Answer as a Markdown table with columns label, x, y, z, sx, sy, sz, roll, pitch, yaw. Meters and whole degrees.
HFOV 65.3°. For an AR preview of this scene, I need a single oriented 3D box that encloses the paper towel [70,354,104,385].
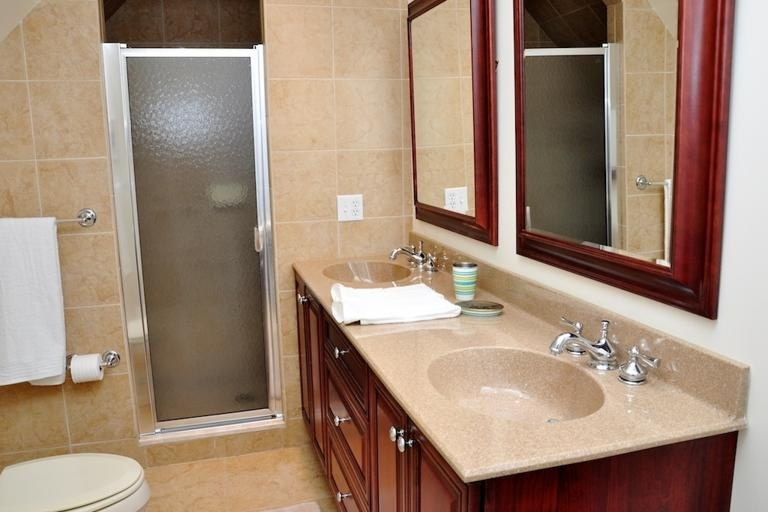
| label | x | y | z | sx | sy | sz | roll | pitch | yaw |
| --- | --- | --- | --- | --- | --- | --- | --- | --- | --- |
| paper towel | -1.489 | 0.564 | 2.991 | 0.162 | 0.145 | 0.134 | -2 | 0 | 2 |

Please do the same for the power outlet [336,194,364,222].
| label | x | y | z | sx | sy | sz | roll | pitch | yaw |
| --- | --- | --- | --- | --- | --- | --- | --- | --- | --- |
| power outlet | -0.190 | -0.263 | 3.216 | 0.144 | 0.143 | 0.017 | -2 | 11 | -6 |

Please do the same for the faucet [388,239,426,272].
| label | x | y | z | sx | sy | sz | roll | pitch | yaw |
| --- | --- | --- | --- | --- | --- | --- | --- | --- | --- |
| faucet | 0.145 | 0.014 | 3.089 | 0.223 | 0.150 | 0.103 | -6 | 10 | -44 |

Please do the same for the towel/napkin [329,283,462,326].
| label | x | y | z | sx | sy | sz | roll | pitch | yaw |
| --- | --- | --- | --- | --- | --- | --- | --- | --- | --- |
| towel/napkin | 0.036 | 0.183 | 2.401 | 0.492 | 0.102 | 0.381 | -6 | 10 | -4 |

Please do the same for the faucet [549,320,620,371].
| label | x | y | z | sx | sy | sz | roll | pitch | yaw |
| --- | --- | --- | --- | --- | --- | --- | --- | --- | --- |
| faucet | 0.644 | 0.287 | 1.932 | 0.267 | 0.166 | 0.114 | -11 | 7 | -17 |

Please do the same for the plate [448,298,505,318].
| label | x | y | z | sx | sy | sz | roll | pitch | yaw |
| --- | --- | --- | --- | --- | --- | --- | --- | --- | --- |
| plate | 0.365 | 0.201 | 2.342 | 0.176 | 0.042 | 0.190 | -6 | 10 | -7 |

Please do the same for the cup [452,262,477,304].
| label | x | y | z | sx | sy | sz | roll | pitch | yaw |
| --- | --- | --- | --- | --- | --- | --- | --- | --- | --- |
| cup | 0.326 | 0.102 | 2.407 | 0.132 | 0.162 | 0.134 | 0 | 4 | 0 |
